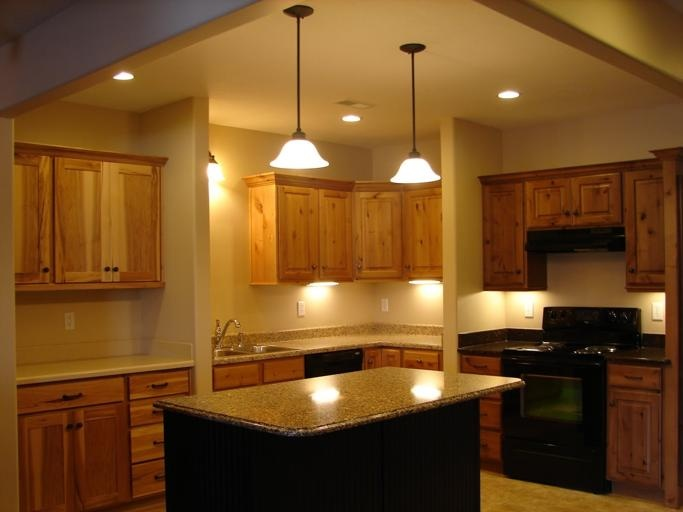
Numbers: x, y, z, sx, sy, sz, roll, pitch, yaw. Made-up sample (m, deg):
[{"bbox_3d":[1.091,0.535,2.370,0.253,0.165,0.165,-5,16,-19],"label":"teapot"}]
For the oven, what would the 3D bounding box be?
[{"bbox_3d":[1.783,1.429,5.321,1.017,1.403,0.951,-4,-8,37],"label":"oven"}]

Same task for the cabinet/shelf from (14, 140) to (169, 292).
[{"bbox_3d":[-1.941,-0.285,4.390,1.152,1.025,0.416,3,-6,-39],"label":"cabinet/shelf"}]

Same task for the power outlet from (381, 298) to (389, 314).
[{"bbox_3d":[0.491,0.552,6.519,0.098,0.153,0.018,0,0,34],"label":"power outlet"}]

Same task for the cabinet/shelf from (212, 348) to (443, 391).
[{"bbox_3d":[-0.138,0.975,5.233,2.105,0.228,0.505,0,0,-20],"label":"cabinet/shelf"}]

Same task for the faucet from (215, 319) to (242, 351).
[{"bbox_3d":[-1.024,0.694,5.196,0.243,0.280,0.448,0,0,-11],"label":"faucet"}]

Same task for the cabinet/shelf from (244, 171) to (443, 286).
[{"bbox_3d":[0.043,-0.268,5.702,1.130,0.790,1.569,-4,-4,44],"label":"cabinet/shelf"}]

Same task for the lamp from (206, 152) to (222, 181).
[{"bbox_3d":[-1.104,-0.771,4.971,0.208,0.243,0.223,0,1,-16],"label":"lamp"}]

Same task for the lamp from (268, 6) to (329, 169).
[{"bbox_3d":[-0.267,-0.922,3.696,0.360,0.858,1.434,0,0,-6],"label":"lamp"}]

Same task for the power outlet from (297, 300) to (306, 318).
[{"bbox_3d":[-0.421,0.541,5.907,0.019,0.180,0.110,0,0,41],"label":"power outlet"}]
